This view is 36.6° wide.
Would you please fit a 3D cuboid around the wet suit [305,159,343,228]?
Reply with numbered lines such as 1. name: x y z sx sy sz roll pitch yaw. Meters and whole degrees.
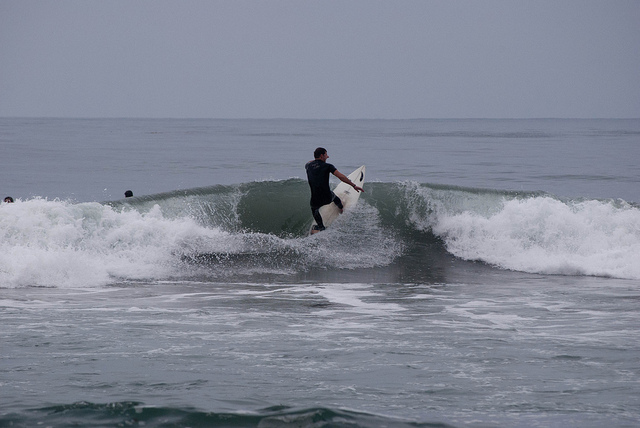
1. wet suit: 0.095 -0.440 20.089 0.709 1.442 0.948 -1 7 0

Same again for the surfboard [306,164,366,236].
1. surfboard: 0.571 -0.475 21.290 0.637 0.304 2.788 3 34 33
